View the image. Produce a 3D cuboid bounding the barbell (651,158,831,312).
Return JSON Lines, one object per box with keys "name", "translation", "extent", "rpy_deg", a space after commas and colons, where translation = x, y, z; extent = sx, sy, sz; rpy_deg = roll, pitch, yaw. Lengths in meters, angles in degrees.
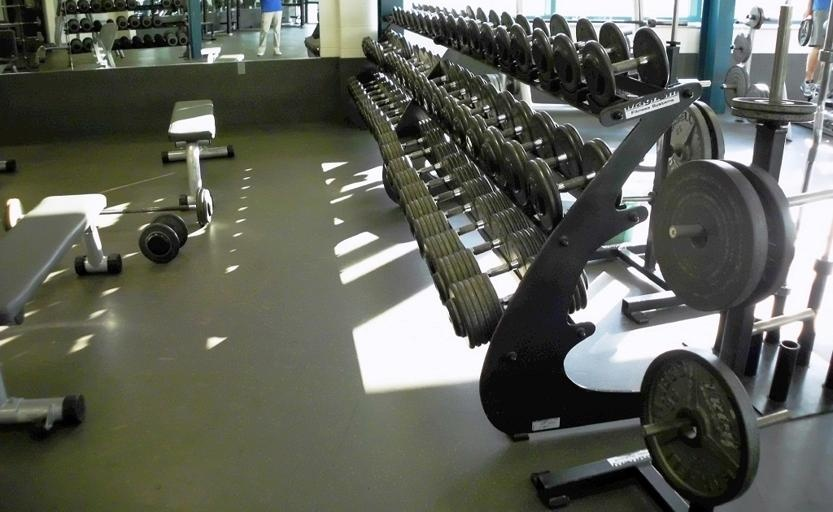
{"name": "barbell", "translation": [1.082, -0.099, 1.896], "extent": [0.515, 0.569, 0.351], "rpy_deg": [-7, 4, 11]}
